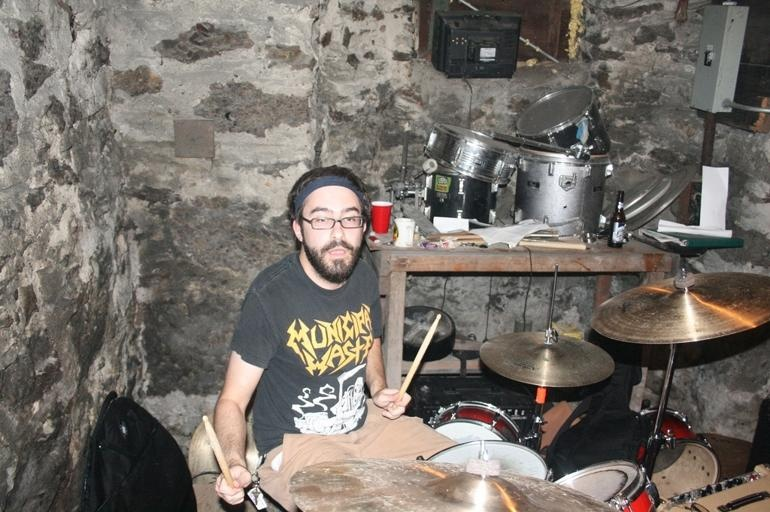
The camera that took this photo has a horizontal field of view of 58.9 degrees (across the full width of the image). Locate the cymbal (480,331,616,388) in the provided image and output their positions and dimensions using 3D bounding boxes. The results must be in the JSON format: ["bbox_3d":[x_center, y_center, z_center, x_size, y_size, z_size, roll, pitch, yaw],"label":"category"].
[{"bbox_3d":[0.838,0.540,3.647,0.464,0.112,0.454,-18,29,-39],"label":"cymbal"}]

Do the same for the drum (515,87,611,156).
[{"bbox_3d":[1.215,-0.945,4.667,0.617,0.493,0.430,2,8,10],"label":"drum"}]

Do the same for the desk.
[{"bbox_3d":[0.980,0.472,4.583,1.699,1.001,0.894,0,1,16],"label":"desk"}]

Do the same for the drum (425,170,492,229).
[{"bbox_3d":[0.514,-0.386,4.734,0.404,0.373,0.397,7,3,18],"label":"drum"}]

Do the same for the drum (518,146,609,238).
[{"bbox_3d":[1.185,-0.488,4.617,0.618,0.546,0.607,-10,17,-42],"label":"drum"}]

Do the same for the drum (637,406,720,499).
[{"bbox_3d":[1.713,1.148,3.995,0.421,0.455,0.355,3,8,18],"label":"drum"}]

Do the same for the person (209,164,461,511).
[{"bbox_3d":[-0.316,0.357,3.234,1.025,1.558,0.569,-3,9,-24],"label":"person"}]

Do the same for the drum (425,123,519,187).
[{"bbox_3d":[0.592,-0.754,4.959,0.779,0.274,0.707,9,12,-21],"label":"drum"}]
